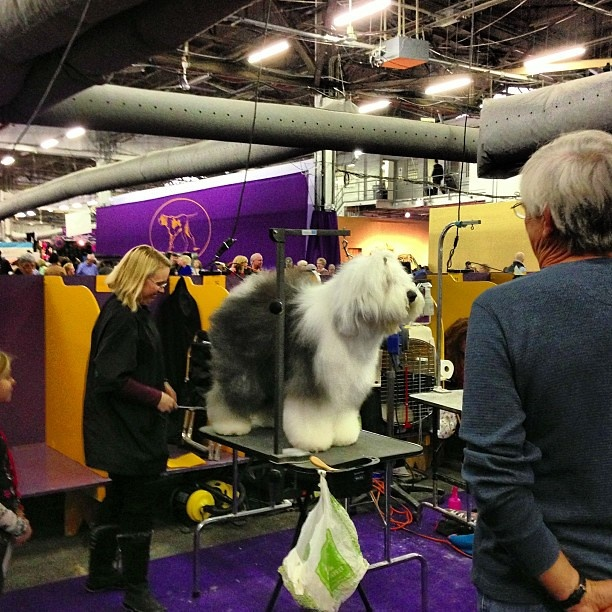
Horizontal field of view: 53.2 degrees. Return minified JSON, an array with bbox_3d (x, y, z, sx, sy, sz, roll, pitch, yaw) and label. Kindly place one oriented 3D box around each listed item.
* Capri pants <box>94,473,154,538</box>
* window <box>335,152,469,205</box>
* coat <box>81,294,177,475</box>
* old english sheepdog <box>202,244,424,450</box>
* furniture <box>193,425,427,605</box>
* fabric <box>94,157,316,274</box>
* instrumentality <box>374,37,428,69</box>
[{"bbox_3d":[-0.770,0.841,2.597,0.285,0.301,0.147,4,3,36],"label":"Capri pants"},{"bbox_3d":[1.727,-3.912,19.103,5.396,1.513,3.684,-7,13,-31],"label":"window"},{"bbox_3d":[-0.748,0.333,2.558,0.338,0.743,0.348,2,3,-19],"label":"coat"},{"bbox_3d":[-0.020,0.182,2.714,0.915,0.861,0.475,5,4,44],"label":"old english sheepdog"},{"bbox_3d":[-0.029,1.007,2.879,0.799,0.701,1.055,2,-2,-37],"label":"furniture"},{"bbox_3d":[-1.506,-1.515,10.098,0.082,1.195,4.089,-7,8,-44],"label":"fabric"},{"bbox_3d":[1.213,-3.304,7.928,0.554,0.360,0.577,0,3,-33],"label":"instrumentality"}]
